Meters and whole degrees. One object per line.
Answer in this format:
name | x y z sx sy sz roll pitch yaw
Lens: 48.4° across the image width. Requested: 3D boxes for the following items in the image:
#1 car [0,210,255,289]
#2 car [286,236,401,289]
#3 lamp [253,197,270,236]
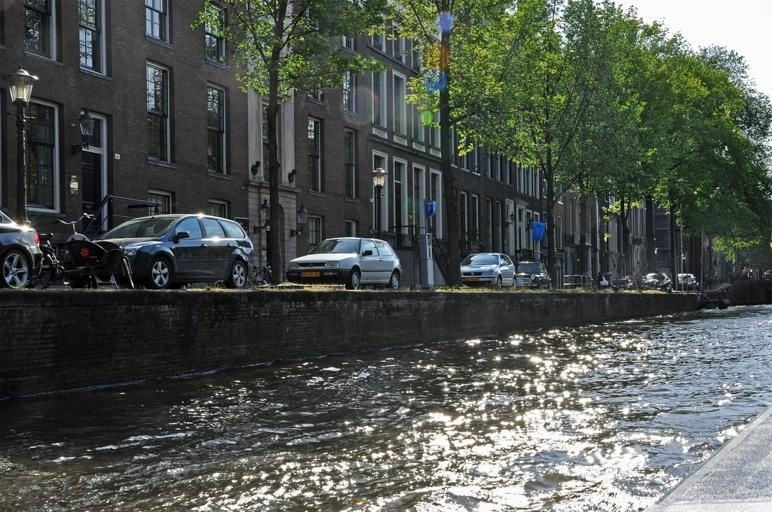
car | -4.969 -0.151 20.168 1.853 1.266 3.622 -6 -10 29
car | -1.269 0.260 27.013 1.591 1.711 3.555 -10 -8 41
lamp | -4.677 -1.562 33.343 0.624 1.252 0.613 1 3 14
